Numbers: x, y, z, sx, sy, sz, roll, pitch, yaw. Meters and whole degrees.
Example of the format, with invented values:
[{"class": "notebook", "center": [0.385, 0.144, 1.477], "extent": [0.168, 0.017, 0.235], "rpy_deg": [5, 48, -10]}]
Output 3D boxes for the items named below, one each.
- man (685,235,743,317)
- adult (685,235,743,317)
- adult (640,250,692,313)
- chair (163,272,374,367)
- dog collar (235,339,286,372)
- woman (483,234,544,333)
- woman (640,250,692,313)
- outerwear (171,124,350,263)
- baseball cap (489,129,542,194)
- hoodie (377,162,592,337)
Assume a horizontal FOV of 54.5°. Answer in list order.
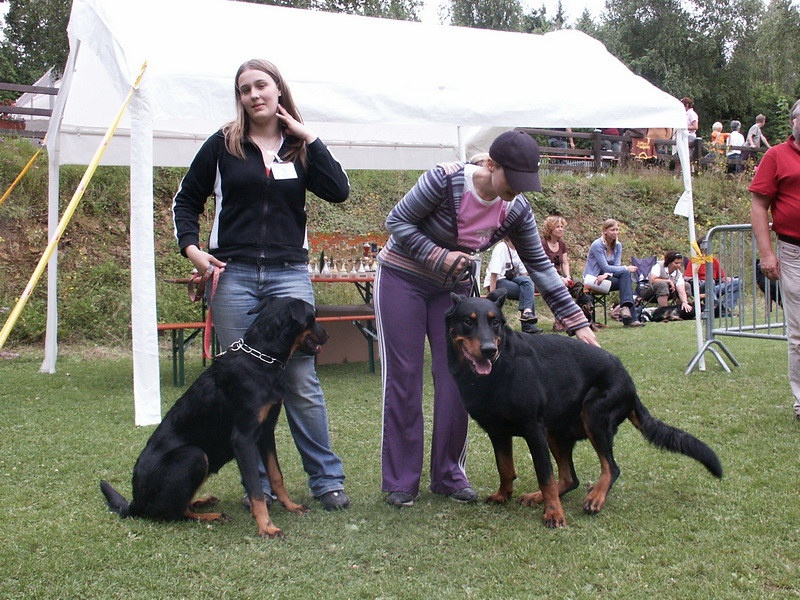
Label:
[{"class": "man", "center": [4.315, -0.347, 10.705], "extent": [0.523, 1.137, 0.646], "rpy_deg": [3, -5, -12]}, {"class": "adult", "center": [4.348, -0.338, 10.807], "extent": [0.531, 1.187, 0.669], "rpy_deg": [5, -8, -13]}, {"class": "adult", "center": [4.236, -0.268, 12.282], "extent": [0.590, 1.038, 0.865], "rpy_deg": [19, -15, -36]}, {"class": "chair", "center": [-1.649, 0.297, 9.550], "extent": [3.003, 1.446, 1.014], "rpy_deg": [-4, 5, -6]}, {"class": "dog collar", "center": [-0.947, 0.355, 5.254], "extent": [0.402, 0.151, 0.071], "rpy_deg": [28, 28, 6]}, {"class": "woman", "center": [1.651, -0.320, 11.007], "extent": [0.677, 1.561, 1.008], "rpy_deg": [2, -2, -36]}, {"class": "woman", "center": [4.228, -0.270, 12.279], "extent": [0.596, 1.030, 0.863], "rpy_deg": [18, -14, -34]}, {"class": "outerwear", "center": [-1.058, -0.461, 5.682], "extent": [1.378, 1.203, 0.826], "rpy_deg": [1, -5, -21]}, {"class": "baseball cap", "center": [0.765, -0.909, 5.128], "extent": [0.345, 0.396, 0.207], "rpy_deg": [0, 11, 2]}, {"class": "hoodie", "center": [0.665, -0.438, 5.635], "extent": [1.531, 1.108, 0.898], "rpy_deg": [11, 4, 14]}]
